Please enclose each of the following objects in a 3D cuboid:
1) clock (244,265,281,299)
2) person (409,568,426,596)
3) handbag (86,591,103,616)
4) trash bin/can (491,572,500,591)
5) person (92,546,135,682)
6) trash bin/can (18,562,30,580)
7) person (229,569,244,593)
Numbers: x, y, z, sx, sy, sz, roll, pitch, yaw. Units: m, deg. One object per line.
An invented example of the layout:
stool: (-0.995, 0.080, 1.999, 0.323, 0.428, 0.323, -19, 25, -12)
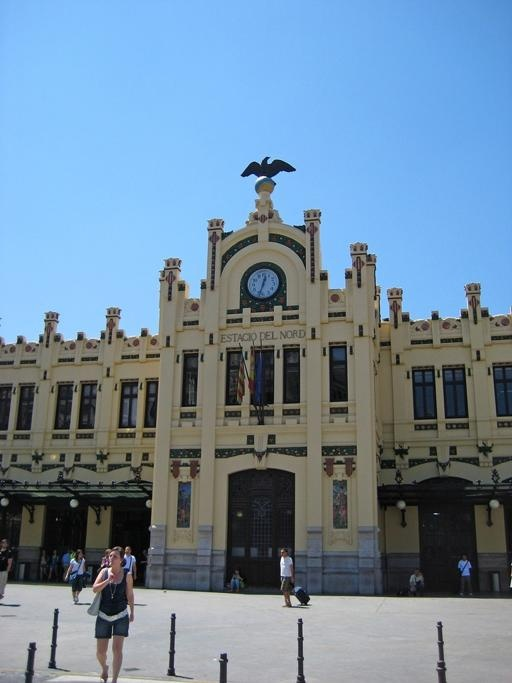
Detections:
clock: (0.370, -2.652, 28.759, 1.487, 1.486, 0.184, -6, -20, 13)
person: (6.424, 9.574, 24.989, 0.445, 0.848, 1.706, -4, -18, 17)
handbag: (-1.974, 3.204, 7.687, 0.126, 0.274, 0.306, 6, -17, -14)
trash bin/can: (10.186, 10.136, 26.579, 0.335, 0.709, 0.509, -5, -18, 19)
person: (-1.775, 3.378, 7.718, 0.496, 1.567, 0.660, 5, -17, -12)
trash bin/can: (-11.690, 11.469, 31.516, 0.698, 0.772, 0.326, 0, -17, 3)
person: (-0.779, 9.568, 25.174, 0.546, 0.756, 1.493, 2, -17, -2)
